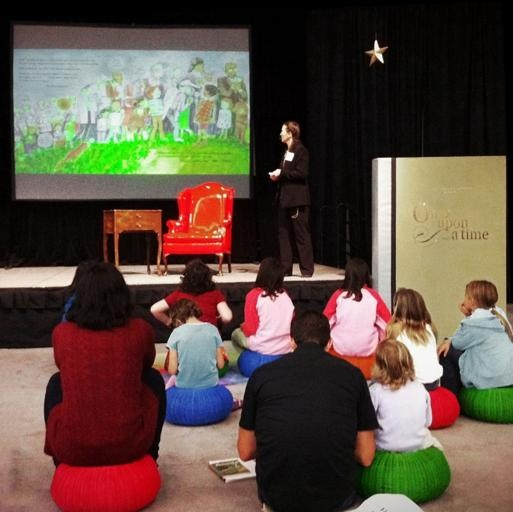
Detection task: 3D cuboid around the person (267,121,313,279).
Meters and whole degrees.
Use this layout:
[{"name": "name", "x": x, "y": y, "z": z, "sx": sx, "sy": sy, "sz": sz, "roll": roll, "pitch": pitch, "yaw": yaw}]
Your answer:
[{"name": "person", "x": 0.372, "y": -0.629, "z": 5.646, "sx": 0.432, "sy": 1.561, "sz": 1.591, "roll": 0, "pitch": 6, "yaw": 4}]

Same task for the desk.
[{"name": "desk", "x": -1.398, "y": -0.157, "z": 5.875, "sx": 0.526, "sy": 0.887, "sz": 0.564, "roll": -3, "pitch": 5, "yaw": -24}]

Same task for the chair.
[{"name": "chair", "x": -0.613, "y": -0.325, "z": 5.821, "sx": 0.781, "sy": 1.212, "sz": 0.891, "roll": -2, "pitch": -5, "yaw": 32}]

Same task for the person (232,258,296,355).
[{"name": "person", "x": 0.035, "y": 0.366, "z": 3.475, "sx": 0.310, "sy": 0.813, "sz": 0.382, "roll": -4, "pitch": 16, "yaw": -24}]
